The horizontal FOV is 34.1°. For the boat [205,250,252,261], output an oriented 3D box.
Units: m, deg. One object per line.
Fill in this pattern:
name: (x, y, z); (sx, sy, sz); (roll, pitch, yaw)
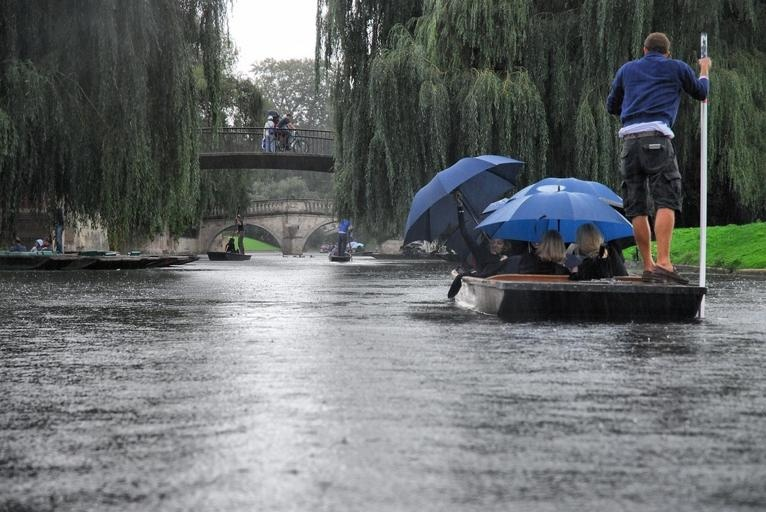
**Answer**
boat: (-5.666, -0.007, 45.233); (1.435, 0.408, 2.195); (0, 3, -11)

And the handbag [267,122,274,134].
handbag: (-4.120, -4.642, 45.018); (0.192, 0.375, 0.356); (-17, -20, 32)

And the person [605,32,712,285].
person: (3.665, -1.343, 16.696); (1.268, 3.363, 0.751); (1, 2, 11)

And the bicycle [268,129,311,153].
bicycle: (-3.472, -4.213, 45.363); (1.556, 0.850, 0.665); (-5, 11, -16)
